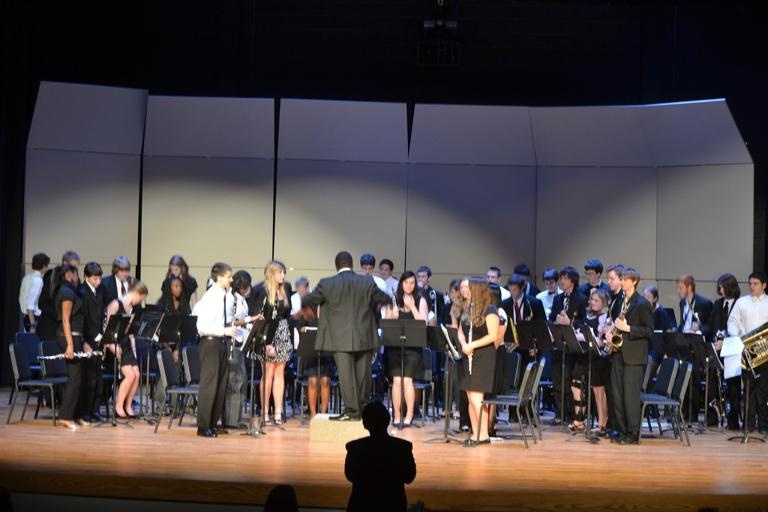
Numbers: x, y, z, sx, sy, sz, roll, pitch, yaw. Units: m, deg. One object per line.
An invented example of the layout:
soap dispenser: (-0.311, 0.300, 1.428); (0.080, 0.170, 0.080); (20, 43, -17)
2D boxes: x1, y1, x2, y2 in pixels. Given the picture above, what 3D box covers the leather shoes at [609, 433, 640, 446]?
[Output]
leather shoes: (3.684, 2.779, 12.173); (0.416, 0.210, 0.165); (6, -5, 13)
